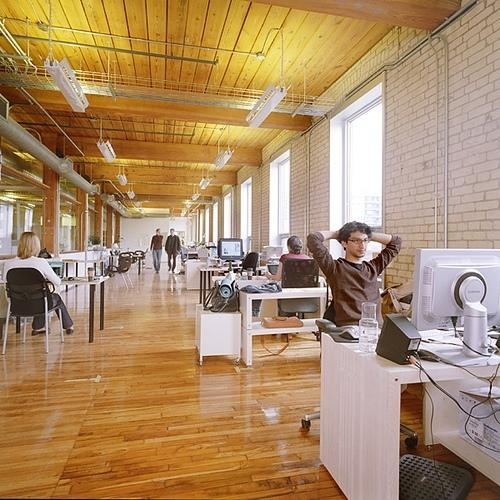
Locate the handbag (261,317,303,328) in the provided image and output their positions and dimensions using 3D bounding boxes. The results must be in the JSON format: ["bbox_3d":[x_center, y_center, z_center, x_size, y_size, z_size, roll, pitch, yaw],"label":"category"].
[{"bbox_3d":[0.334,0.724,4.136,0.401,0.095,0.322,1,4,-7],"label":"handbag"}]

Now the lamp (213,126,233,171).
[{"bbox_3d":[-0.606,-2.301,9.231,0.265,0.933,0.880,14,-37,-7],"label":"lamp"}]

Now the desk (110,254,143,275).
[{"bbox_3d":[-3.698,0.417,12.337,0.666,0.769,0.608,-3,10,-35],"label":"desk"}]

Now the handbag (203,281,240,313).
[{"bbox_3d":[-0.272,0.468,4.119,0.311,0.281,0.112,6,-5,33],"label":"handbag"}]

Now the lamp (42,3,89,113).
[{"bbox_3d":[-2.018,-2.133,4.575,0.456,1.008,1.873,-1,4,-24],"label":"lamp"}]

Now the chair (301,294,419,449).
[{"bbox_3d":[0.731,0.967,2.681,0.485,0.533,0.525,1,-6,38],"label":"chair"}]

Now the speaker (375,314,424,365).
[{"bbox_3d":[0.713,0.421,1.971,0.141,0.208,0.169,0,4,-15],"label":"speaker"}]

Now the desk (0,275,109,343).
[{"bbox_3d":[-2.231,0.596,4.981,0.935,0.772,1.118,2,-3,-21],"label":"desk"}]

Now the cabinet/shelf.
[{"bbox_3d":[-0.303,0.834,4.320,0.502,0.520,0.662,2,-4,-11],"label":"cabinet/shelf"}]

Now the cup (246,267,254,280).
[{"bbox_3d":[-0.006,0.310,5.116,0.096,0.169,0.092,-1,6,0],"label":"cup"}]

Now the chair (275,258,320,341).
[{"bbox_3d":[0.404,0.411,4.792,0.607,0.833,0.616,0,-3,-5],"label":"chair"}]

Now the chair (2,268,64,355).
[{"bbox_3d":[-2.339,0.614,4.467,0.593,0.908,0.707,-1,5,-24],"label":"chair"}]

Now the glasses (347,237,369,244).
[{"bbox_3d":[0.768,-0.064,2.936,0.140,0.040,0.073,2,4,11],"label":"glasses"}]

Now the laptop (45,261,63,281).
[{"bbox_3d":[-2.477,0.252,5.222,0.300,0.250,0.145,0,2,-9],"label":"laptop"}]

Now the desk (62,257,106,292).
[{"bbox_3d":[-3.139,0.449,7.712,0.822,0.510,0.920,-3,-6,37],"label":"desk"}]
